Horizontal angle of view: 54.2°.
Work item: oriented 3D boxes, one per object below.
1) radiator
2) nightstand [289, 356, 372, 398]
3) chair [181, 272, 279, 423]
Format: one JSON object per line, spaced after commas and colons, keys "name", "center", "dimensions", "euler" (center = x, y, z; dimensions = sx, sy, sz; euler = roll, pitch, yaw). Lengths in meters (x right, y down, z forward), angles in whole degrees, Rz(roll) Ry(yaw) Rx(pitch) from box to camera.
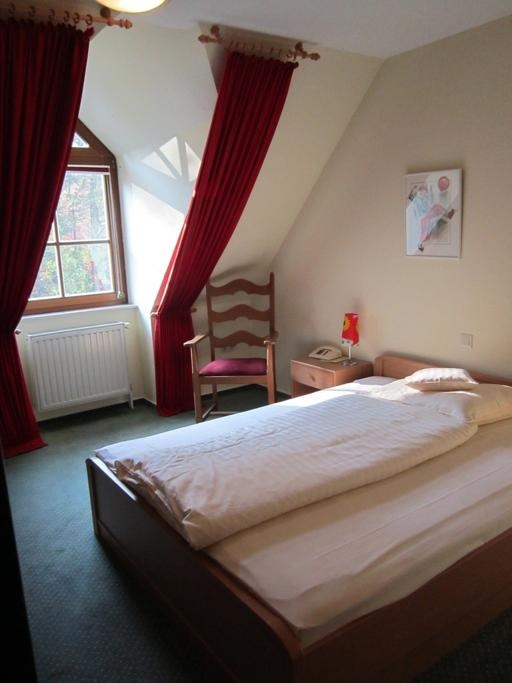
{"name": "radiator", "center": [-1.348, 0.268, 3.902], "dimensions": [0.717, 0.701, 0.102], "euler": [-10, 8, -32]}
{"name": "nightstand", "center": [0.598, 0.278, 3.684], "dimensions": [0.460, 0.301, 0.535], "euler": [-5, 11, -33]}
{"name": "chair", "center": [-0.158, -0.015, 3.930], "dimensions": [0.648, 1.219, 0.692], "euler": [0, 11, -9]}
